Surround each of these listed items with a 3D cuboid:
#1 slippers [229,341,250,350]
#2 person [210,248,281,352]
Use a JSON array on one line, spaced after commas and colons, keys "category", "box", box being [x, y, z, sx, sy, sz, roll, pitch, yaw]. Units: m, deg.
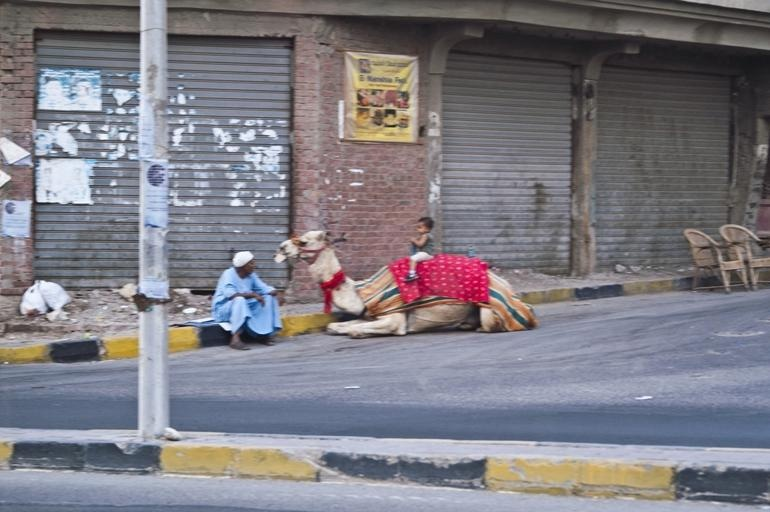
[{"category": "slippers", "box": [-2.173, 1.324, 20.468, 0.291, 0.096, 0.147, 0, 1, -4]}, {"category": "person", "box": [-1.999, 0.650, 20.654, 2.140, 1.349, 0.818, 1, -2, -5]}]
